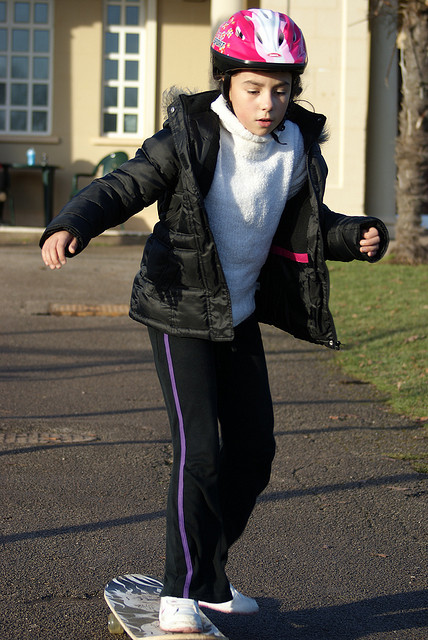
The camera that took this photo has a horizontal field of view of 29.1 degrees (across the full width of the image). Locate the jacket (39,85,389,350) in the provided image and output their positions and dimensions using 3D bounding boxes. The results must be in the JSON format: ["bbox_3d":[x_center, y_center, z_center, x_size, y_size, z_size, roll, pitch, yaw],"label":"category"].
[{"bbox_3d":[0.004,-0.308,2.612,1.115,0.826,0.397,-2,10,-28],"label":"jacket"}]

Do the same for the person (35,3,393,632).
[{"bbox_3d":[0.019,-0.012,2.587,0.537,1.869,1.005,12,13,44],"label":"person"}]
